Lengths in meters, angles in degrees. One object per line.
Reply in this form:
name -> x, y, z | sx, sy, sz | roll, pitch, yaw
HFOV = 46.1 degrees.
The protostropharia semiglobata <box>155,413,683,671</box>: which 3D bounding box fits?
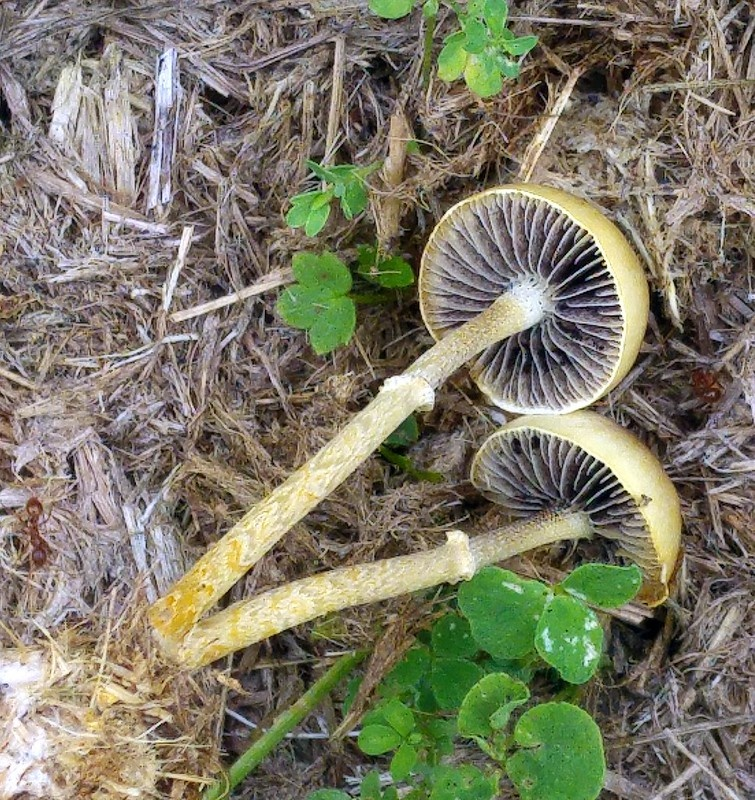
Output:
protostropharia semiglobata -> 0.186, 0.422, 3.196 | 1.837, 0.683, 0.734 | -17, 102, -10
